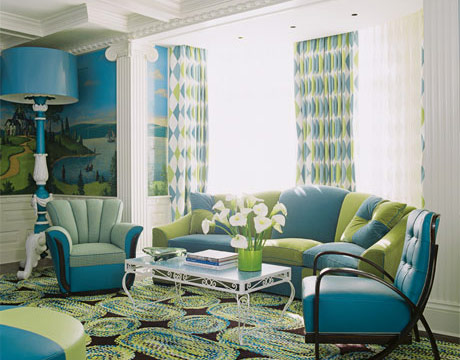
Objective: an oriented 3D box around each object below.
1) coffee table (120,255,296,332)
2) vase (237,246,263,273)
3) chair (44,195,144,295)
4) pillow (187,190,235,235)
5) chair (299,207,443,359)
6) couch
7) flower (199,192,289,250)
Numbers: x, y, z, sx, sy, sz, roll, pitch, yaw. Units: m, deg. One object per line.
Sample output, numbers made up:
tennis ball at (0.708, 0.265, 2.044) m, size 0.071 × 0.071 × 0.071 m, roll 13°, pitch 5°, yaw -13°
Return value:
coffee table at (-0.194, 1.017, 4.116) m, size 1.549 × 0.559 × 0.886 m, roll 4°, pitch 7°, yaw 38°
vase at (0.174, 0.697, 3.683) m, size 0.199 × 0.173 × 0.192 m, roll 1°, pitch -4°, yaw -9°
chair at (-1.602, 0.733, 4.984) m, size 1.041 × 0.999 × 0.993 m, roll 2°, pitch 1°, yaw -21°
pillow at (-0.227, 0.403, 4.980) m, size 0.413 × 0.423 × 0.127 m, roll 7°, pitch -19°, yaw -10°
chair at (0.936, 0.730, 3.620) m, size 1.180 × 1.335 × 0.919 m, roll 2°, pitch -3°, yaw 6°
couch at (0.595, 0.755, 4.988) m, size 1.030 × 1.204 × 2.932 m, roll 4°, pitch -4°, yaw -45°
flower at (0.132, 0.366, 3.798) m, size 0.739 × 0.512 × 0.729 m, roll -1°, pitch 3°, yaw -28°
